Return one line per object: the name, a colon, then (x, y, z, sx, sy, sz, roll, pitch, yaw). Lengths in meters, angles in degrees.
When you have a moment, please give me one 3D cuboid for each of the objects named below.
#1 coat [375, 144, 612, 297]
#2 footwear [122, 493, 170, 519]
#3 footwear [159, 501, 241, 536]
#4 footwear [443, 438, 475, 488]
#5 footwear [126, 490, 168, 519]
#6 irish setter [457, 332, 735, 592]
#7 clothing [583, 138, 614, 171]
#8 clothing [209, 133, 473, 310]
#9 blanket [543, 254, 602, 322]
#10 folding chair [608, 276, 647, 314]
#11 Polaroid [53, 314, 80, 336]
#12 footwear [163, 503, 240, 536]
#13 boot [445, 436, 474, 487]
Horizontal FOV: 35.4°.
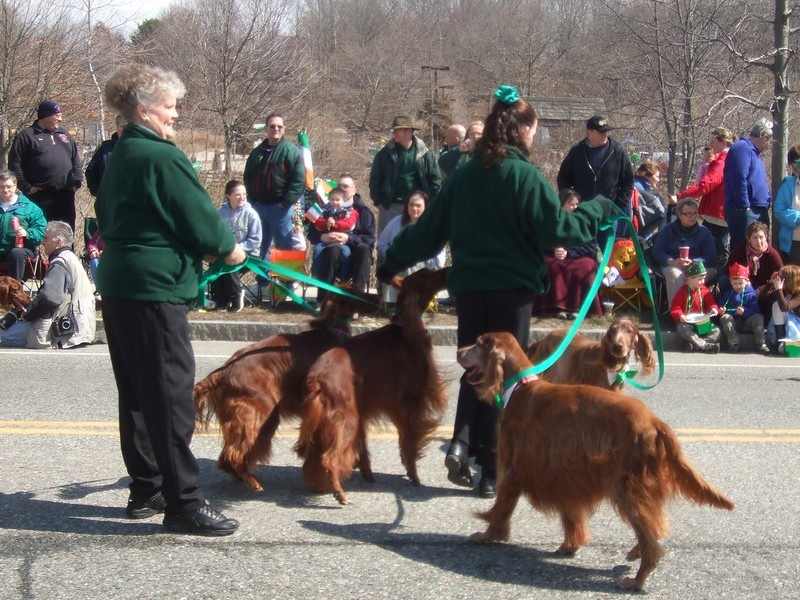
coat: (0.983, -0.770, 12.621, 1.984, 1.184, 0.658, 0, 4, 19)
footwear: (-2.157, 1.742, 10.593, 0.446, 0.206, 0.163, -5, 8, -33)
footwear: (-1.689, 1.848, 10.496, 0.634, 0.310, 0.249, 1, 3, -3)
footwear: (0.535, 1.455, 11.109, 0.189, 0.441, 0.311, -4, 44, 19)
footwear: (-2.159, 1.729, 10.605, 0.447, 0.205, 0.166, -5, 8, -35)
irish setter: (1.539, 1.482, 10.089, 1.779, 1.619, 0.381, 4, 6, 27)
clothing: (2.552, -1.826, 16.108, 0.246, 0.395, 0.411, -5, 15, 26)
clothing: (-0.410, -1.456, 16.805, 3.666, 1.954, 2.130, 2, 16, 10)
blanket: (2.075, -0.208, 16.202, 0.820, 0.850, 0.483, 3, -15, -11)
folding chair: (3.044, -0.066, 16.710, 0.549, 0.449, 0.435, -2, 18, 18)
Polaroid: (-4.020, 0.329, 14.970, 0.313, 0.306, 0.227, -7, -7, -28)
footwear: (-1.676, 1.842, 10.500, 0.625, 0.289, 0.247, 1, 2, -3)
boot: (0.468, 1.399, 11.201, 0.196, 0.343, 0.494, 14, 17, 12)
